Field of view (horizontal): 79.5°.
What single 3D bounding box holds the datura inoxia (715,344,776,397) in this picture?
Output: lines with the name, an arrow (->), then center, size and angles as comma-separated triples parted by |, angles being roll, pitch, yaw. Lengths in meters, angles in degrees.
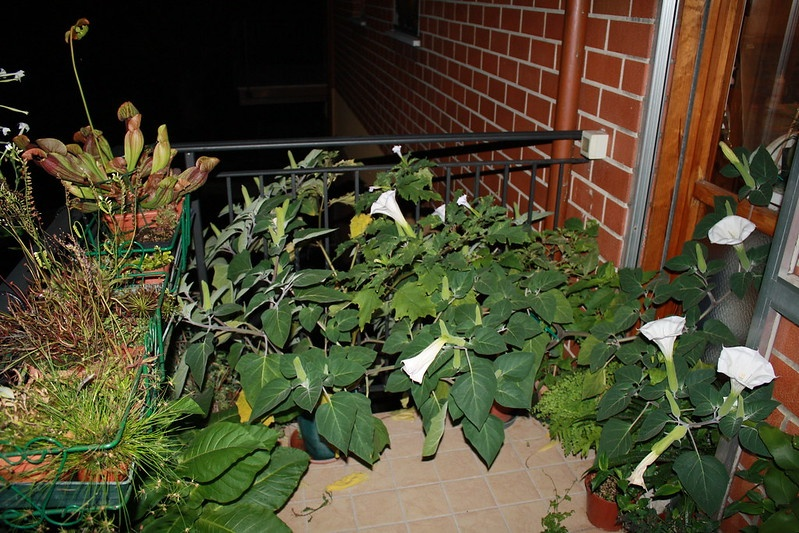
datura inoxia -> 1.339, 0.415, 1.916 | 0.179, 0.122, 0.185 | -29, 66, 8

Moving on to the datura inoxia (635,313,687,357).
datura inoxia -> 1.101, 0.269, 2.072 | 0.180, 0.137, 0.184 | -30, 10, 6

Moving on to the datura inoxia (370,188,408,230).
datura inoxia -> -0.066, -0.308, 2.591 | 0.158, 0.222, 0.183 | -28, 58, 28

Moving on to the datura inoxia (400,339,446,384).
datura inoxia -> 0.097, 0.399, 2.087 | 0.130, 0.069, 0.235 | 25, 52, 23
